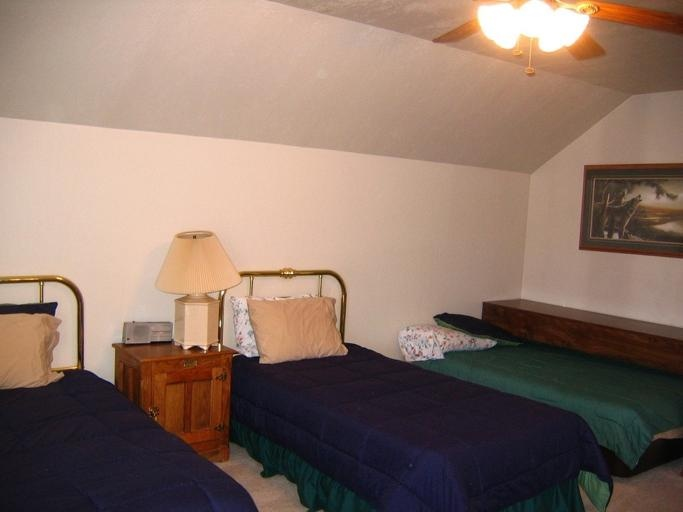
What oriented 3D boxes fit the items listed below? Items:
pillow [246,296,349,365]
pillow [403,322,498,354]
[{"bbox_3d":[-0.294,0.484,3.733,0.731,0.427,0.200,-3,-20,-39],"label":"pillow"},{"bbox_3d":[0.843,0.725,4.466,0.413,0.160,0.357,0,-1,-28],"label":"pillow"}]
